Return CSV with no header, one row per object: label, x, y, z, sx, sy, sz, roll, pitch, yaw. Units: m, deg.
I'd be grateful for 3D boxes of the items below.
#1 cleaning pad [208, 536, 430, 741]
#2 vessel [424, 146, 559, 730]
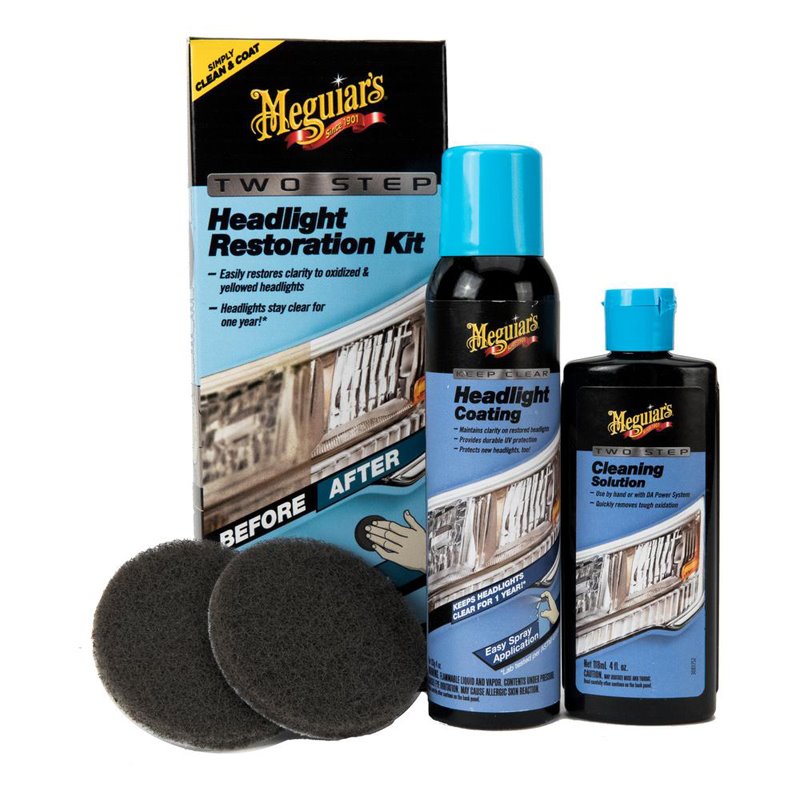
cleaning pad,-0.119,0.368,1.418,0.335,0.255,0.202,-6,12,-16
vessel,0.137,0.061,1.355,0.197,0.859,0.214,-2,13,8
